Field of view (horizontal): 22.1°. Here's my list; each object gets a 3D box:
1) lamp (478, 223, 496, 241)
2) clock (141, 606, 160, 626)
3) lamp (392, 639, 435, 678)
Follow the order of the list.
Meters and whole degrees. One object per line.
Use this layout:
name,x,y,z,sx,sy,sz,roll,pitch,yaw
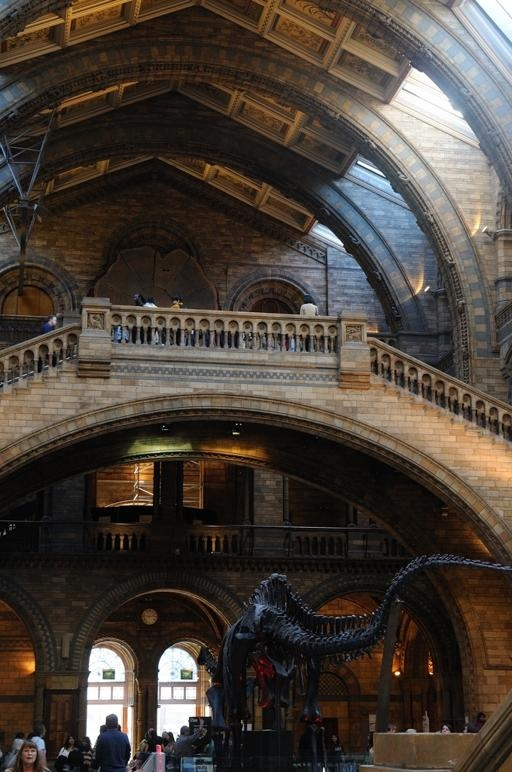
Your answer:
lamp,4.236,-2.831,24.063,0.281,0.295,0.205,12,-8,14
clock,-2.471,5.288,30.248,0.450,0.455,0.045,2,-5,-25
lamp,3.475,6.115,29.257,1.158,0.716,0.415,-18,-26,37
